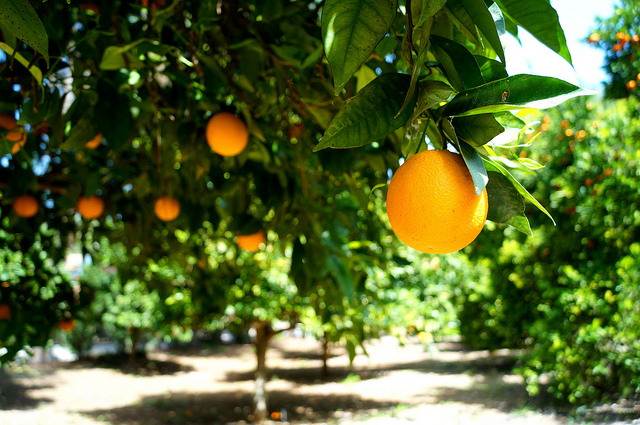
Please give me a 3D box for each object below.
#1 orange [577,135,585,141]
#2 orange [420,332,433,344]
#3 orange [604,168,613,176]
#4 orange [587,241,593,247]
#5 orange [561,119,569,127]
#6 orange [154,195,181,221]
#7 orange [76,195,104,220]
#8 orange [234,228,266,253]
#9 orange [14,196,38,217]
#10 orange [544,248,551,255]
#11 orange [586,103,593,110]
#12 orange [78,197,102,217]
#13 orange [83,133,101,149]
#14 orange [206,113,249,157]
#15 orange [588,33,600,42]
[{"bbox_3d":[3.109,-0.901,7.040,0.075,0.060,0.089,4,4,21],"label":"orange"},{"bbox_3d":[0.787,0.934,4.408,0.083,0.103,0.086,-11,-10,37],"label":"orange"},{"bbox_3d":[2.788,-0.397,5.704,0.036,0.074,0.059,52,-3,-38],"label":"orange"},{"bbox_3d":[3.117,0.362,6.827,0.053,0.065,0.068,-1,-5,24],"label":"orange"},{"bbox_3d":[3.072,-1.124,7.380,0.134,0.094,0.166,3,3,12],"label":"orange"},{"bbox_3d":[-1.026,-0.026,4.030,0.171,0.111,0.171,-14,36,-23],"label":"orange"},{"bbox_3d":[-1.575,-0.046,4.053,0.147,0.157,0.215,4,-6,-35],"label":"orange"},{"bbox_3d":[-0.438,0.206,4.031,0.213,0.147,0.209,-10,15,-36],"label":"orange"},{"bbox_3d":[-1.969,-0.044,3.916,0.179,0.131,0.098,-1,-5,20],"label":"orange"},{"bbox_3d":[2.911,0.495,7.584,0.053,0.079,0.082,2,-5,-17],"label":"orange"},{"bbox_3d":[3.281,-1.310,7.194,0.092,0.064,0.114,3,2,13],"label":"orange"},{"bbox_3d":[-1.561,-0.040,4.016,0.148,0.130,0.111,3,-5,-23],"label":"orange"},{"bbox_3d":[-1.405,-0.443,3.678,0.101,0.053,0.103,-30,7,18],"label":"orange"},{"bbox_3d":[-0.529,-0.461,3.450,0.256,0.236,0.155,3,-6,-25],"label":"orange"},{"bbox_3d":[1.920,-1.234,4.126,0.077,0.044,0.079,3,6,18],"label":"orange"}]
